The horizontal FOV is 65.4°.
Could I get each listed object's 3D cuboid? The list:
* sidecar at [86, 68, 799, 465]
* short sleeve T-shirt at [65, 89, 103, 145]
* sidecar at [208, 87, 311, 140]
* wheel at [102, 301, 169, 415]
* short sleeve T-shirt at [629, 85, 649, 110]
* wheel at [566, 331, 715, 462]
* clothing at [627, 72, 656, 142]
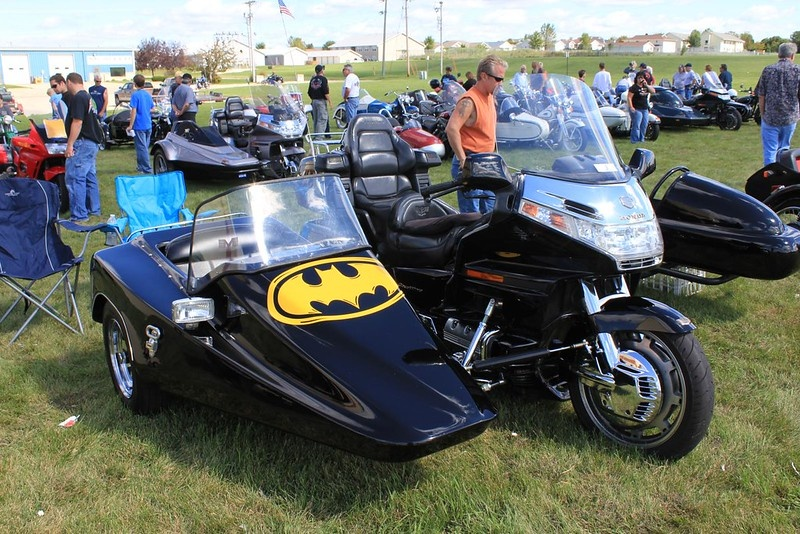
[{"bbox_3d":[0.018,-0.085,4.911,4.278,2.624,2.708,-5,19,-10],"label":"sidecar"},{"bbox_3d":[-4.937,-2.327,9.643,0.571,0.822,0.799,2,22,-11],"label":"short sleeve T-shirt"},{"bbox_3d":[-2.577,-3.098,12.396,1.895,1.054,0.807,12,26,39],"label":"sidecar"},{"bbox_3d":[-2.063,0.720,4.903,0.232,0.694,0.693,-3,29,-42],"label":"wheel"},{"bbox_3d":[5.559,-3.937,14.559,0.470,0.442,0.256,-10,25,-14],"label":"short sleeve T-shirt"},{"bbox_3d":[1.715,0.940,4.450,0.774,0.704,0.228,24,19,35],"label":"wheel"},{"bbox_3d":[5.744,-3.753,14.866,0.674,1.668,0.501,-3,8,8],"label":"clothing"}]
